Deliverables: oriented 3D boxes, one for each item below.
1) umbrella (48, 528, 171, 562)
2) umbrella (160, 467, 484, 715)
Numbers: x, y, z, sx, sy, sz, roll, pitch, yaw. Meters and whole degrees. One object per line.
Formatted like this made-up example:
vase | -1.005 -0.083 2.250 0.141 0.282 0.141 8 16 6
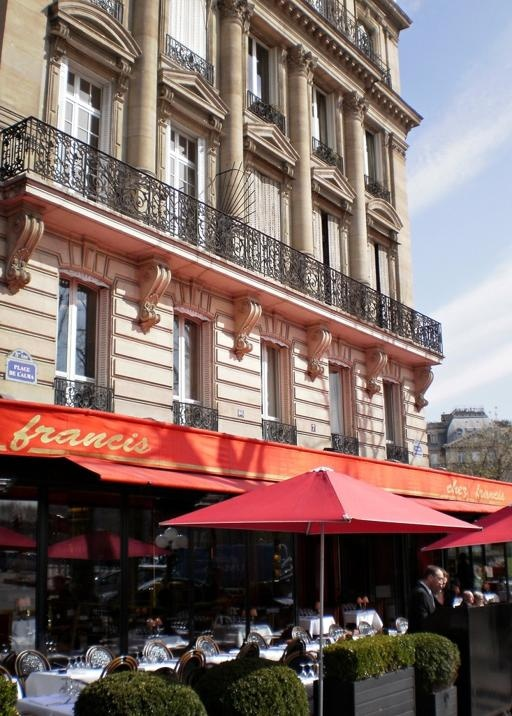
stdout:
umbrella | -1.865 2.342 9.555 0.222 0.355 1.725 -11 -17 30
umbrella | 0.688 1.636 6.746 2.128 1.860 2.122 2 -8 -12
